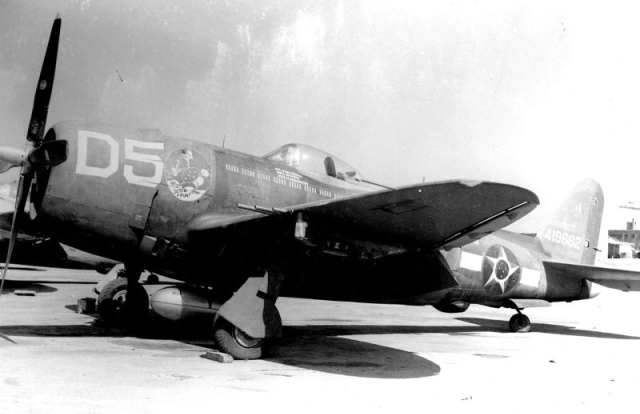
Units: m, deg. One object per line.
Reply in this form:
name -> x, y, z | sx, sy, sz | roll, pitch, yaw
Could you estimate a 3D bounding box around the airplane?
airplane -> -0.003, 0.579, 9.566 | 7.698, 2.953, 8.316 | 11, -5, -23
